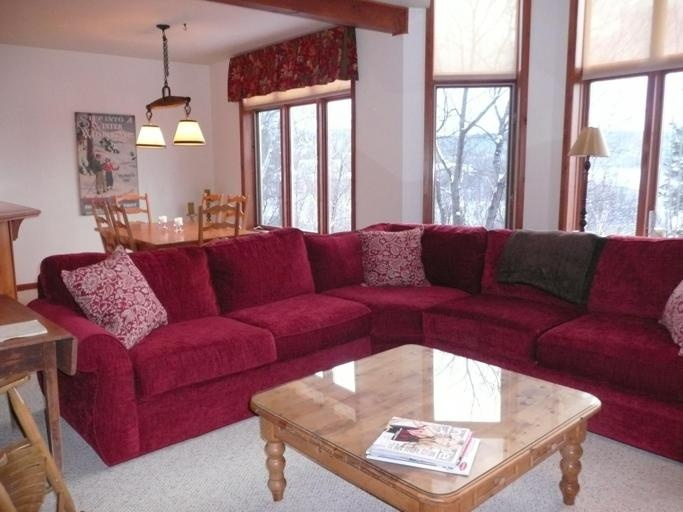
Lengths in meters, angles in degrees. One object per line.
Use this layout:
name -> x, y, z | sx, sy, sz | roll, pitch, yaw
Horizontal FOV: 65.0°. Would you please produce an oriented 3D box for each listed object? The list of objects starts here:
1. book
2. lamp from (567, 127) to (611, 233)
book -> 0.341, 0.777, 2.219 | 0.438, 0.087, 0.259 | 0, 12, 16
lamp -> 2.192, -0.666, 4.761 | 0.304, 0.960, 0.649 | 1, 14, 24
